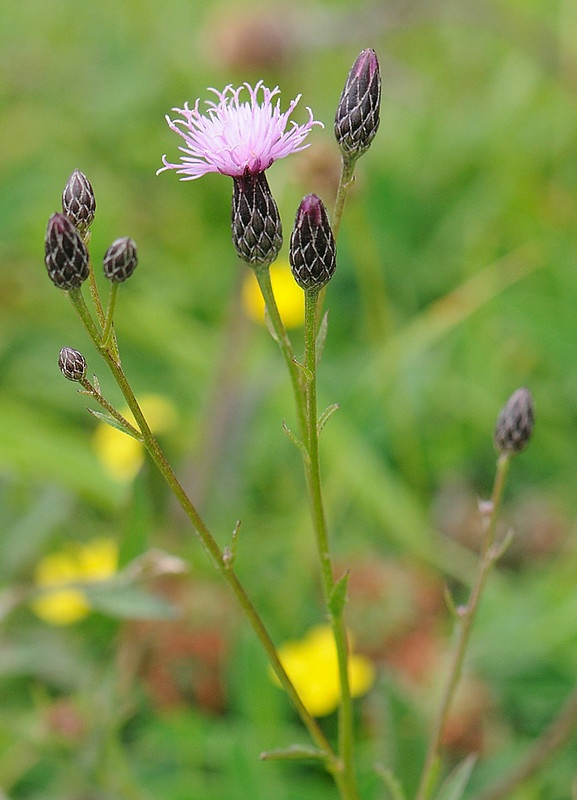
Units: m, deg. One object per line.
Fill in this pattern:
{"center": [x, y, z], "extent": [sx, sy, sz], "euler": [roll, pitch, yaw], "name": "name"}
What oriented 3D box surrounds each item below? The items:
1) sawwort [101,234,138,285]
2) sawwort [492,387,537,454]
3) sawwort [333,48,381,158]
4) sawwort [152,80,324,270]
{"center": [-0.186, -0.155, 0.960], "extent": [0.038, 0.050, 0.138], "euler": [-17, 6, -7], "name": "sawwort"}
{"center": [0.240, 0.023, 0.925], "extent": [0.038, 0.073, 0.040], "euler": [13, -21, 30], "name": "sawwort"}
{"center": [0.075, -0.319, 0.948], "extent": [0.062, 0.095, 0.083], "euler": [-15, 6, 9], "name": "sawwort"}
{"center": [-0.051, -0.229, 0.935], "extent": [0.138, 0.190, 0.162], "euler": [-5, 6, 23], "name": "sawwort"}
